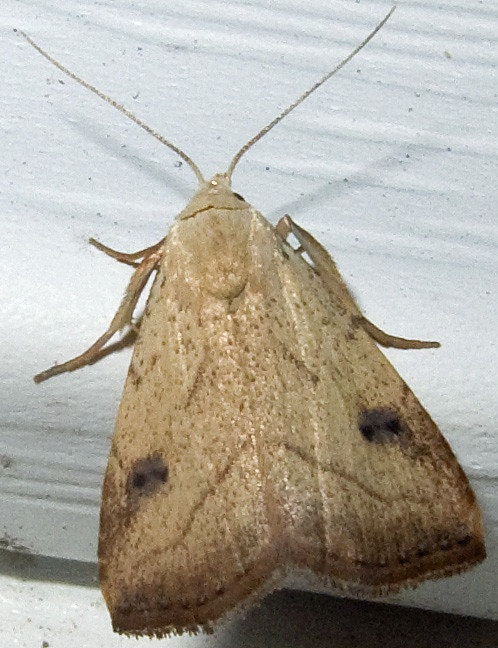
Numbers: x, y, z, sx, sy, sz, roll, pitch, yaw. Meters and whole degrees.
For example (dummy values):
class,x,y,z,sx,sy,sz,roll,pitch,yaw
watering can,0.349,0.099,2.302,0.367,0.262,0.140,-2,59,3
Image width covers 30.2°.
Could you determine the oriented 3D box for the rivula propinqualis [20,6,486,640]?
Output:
class,x,y,z,sx,sy,sz,roll,pitch,yaw
rivula propinqualis,0.001,0.049,2.903,1.635,1.869,0.494,-10,-16,-1
